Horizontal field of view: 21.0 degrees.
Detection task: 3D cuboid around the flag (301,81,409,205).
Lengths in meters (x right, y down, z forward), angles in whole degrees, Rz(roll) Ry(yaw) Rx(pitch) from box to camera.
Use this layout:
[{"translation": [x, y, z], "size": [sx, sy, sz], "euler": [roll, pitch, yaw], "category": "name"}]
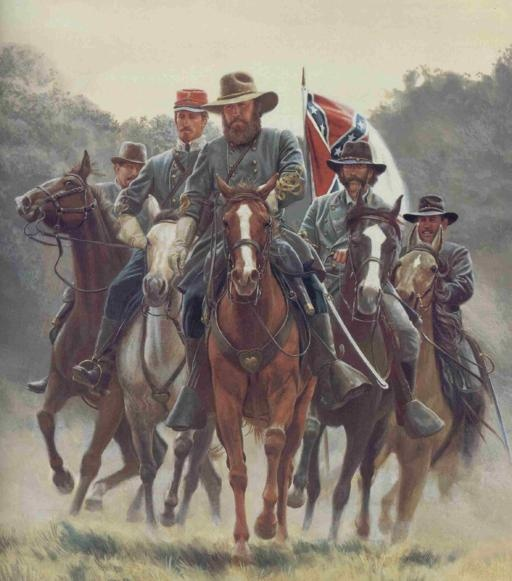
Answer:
[{"translation": [0.984, -1.426, 14.571], "size": [1.046, 1.447, 0.671], "euler": [3, 12, 34], "category": "flag"}]
